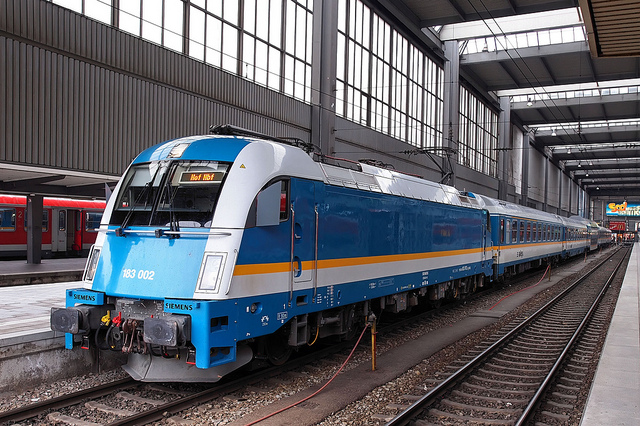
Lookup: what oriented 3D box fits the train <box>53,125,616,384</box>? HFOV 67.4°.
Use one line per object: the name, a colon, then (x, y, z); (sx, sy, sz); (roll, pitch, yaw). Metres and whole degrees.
train: (1.460, 1.264, 15.044); (3.255, 5.434, 17.089); (-6, -9, 41)
